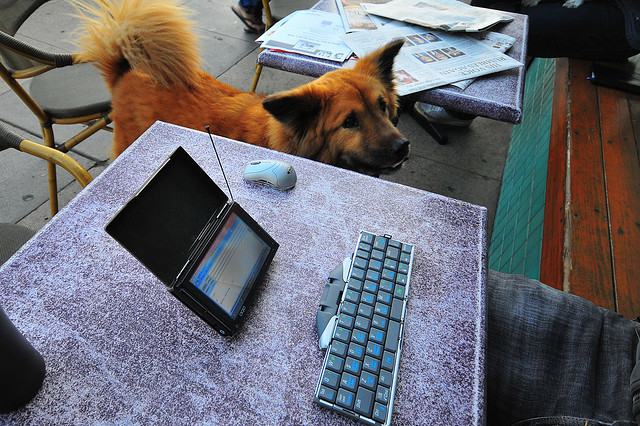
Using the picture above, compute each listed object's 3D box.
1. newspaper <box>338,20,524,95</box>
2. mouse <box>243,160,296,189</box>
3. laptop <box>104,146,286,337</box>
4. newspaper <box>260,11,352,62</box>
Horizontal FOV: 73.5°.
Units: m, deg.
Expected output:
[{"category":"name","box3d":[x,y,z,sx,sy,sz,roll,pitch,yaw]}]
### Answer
[{"category":"newspaper","box3d":[0.573,-0.897,2.349,0.716,0.075,0.758,-25,55,-16]},{"category":"mouse","box3d":[-0.198,-0.161,1.719,0.183,0.066,0.107,12,46,5]},{"category":"laptop","box3d":[-0.374,0.085,1.431,0.490,0.401,0.490,-34,69,-20]},{"category":"newspaper","box3d":[-0.015,-1.034,2.441,0.463,0.070,0.548,15,54,15]}]
